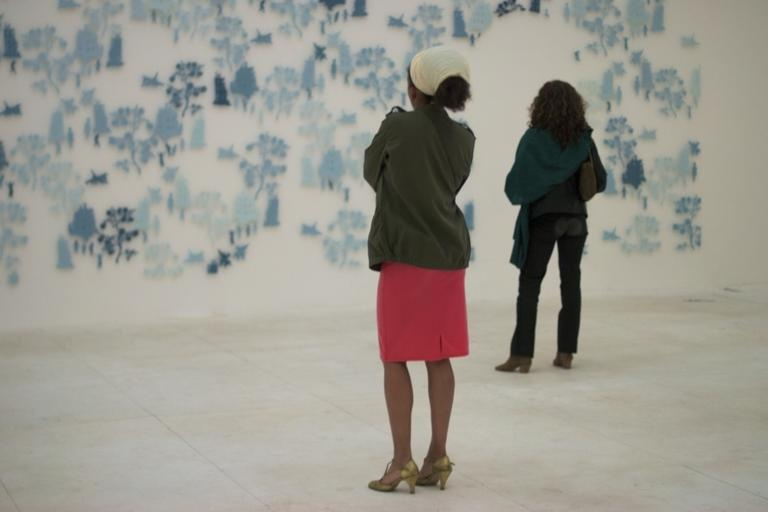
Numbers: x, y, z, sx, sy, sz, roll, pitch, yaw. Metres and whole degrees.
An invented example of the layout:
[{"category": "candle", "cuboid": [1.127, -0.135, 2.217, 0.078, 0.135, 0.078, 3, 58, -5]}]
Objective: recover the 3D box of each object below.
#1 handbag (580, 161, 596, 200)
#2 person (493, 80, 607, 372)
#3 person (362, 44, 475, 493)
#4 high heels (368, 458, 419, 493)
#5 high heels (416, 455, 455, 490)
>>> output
[{"category": "handbag", "cuboid": [1.507, -0.558, 7.401, 0.124, 0.364, 0.258, 1, 0, 6]}, {"category": "person", "cuboid": [1.235, -0.212, 7.416, 0.641, 2.063, 0.545, 0, 13, -1]}, {"category": "person", "cuboid": [0.190, 0.080, 5.898, 0.625, 2.515, 0.664, 1, 13, 4]}, {"category": "high heels", "cuboid": [0.048, 1.309, 5.918, 0.312, 0.201, 0.152, -2, -13, 24]}, {"category": "high heels", "cuboid": [0.274, 1.284, 5.996, 0.126, 0.201, 0.340, 9, -7, -35]}]
